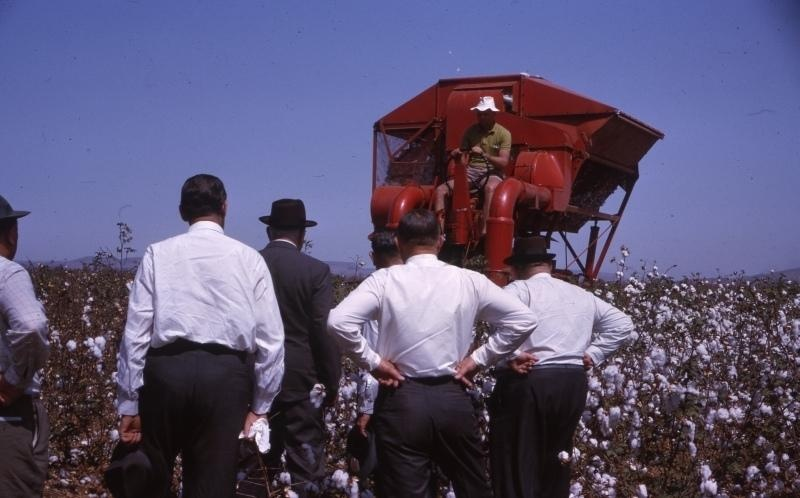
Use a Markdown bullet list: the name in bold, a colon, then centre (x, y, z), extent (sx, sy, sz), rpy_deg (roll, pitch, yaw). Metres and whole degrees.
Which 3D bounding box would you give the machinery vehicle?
- **machinery vehicle**: centre (2.558, -1.423, 14.918), extent (4.641, 4.538, 6.142), rpy_deg (1, 0, -32)

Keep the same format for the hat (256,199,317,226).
- **hat**: centre (-1.162, -0.373, 6.843), extent (0.527, 0.251, 0.612), rpy_deg (2, 5, -3)

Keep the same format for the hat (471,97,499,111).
- **hat**: centre (1.548, -2.702, 11.902), extent (0.442, 0.255, 0.418), rpy_deg (7, -6, -3)
